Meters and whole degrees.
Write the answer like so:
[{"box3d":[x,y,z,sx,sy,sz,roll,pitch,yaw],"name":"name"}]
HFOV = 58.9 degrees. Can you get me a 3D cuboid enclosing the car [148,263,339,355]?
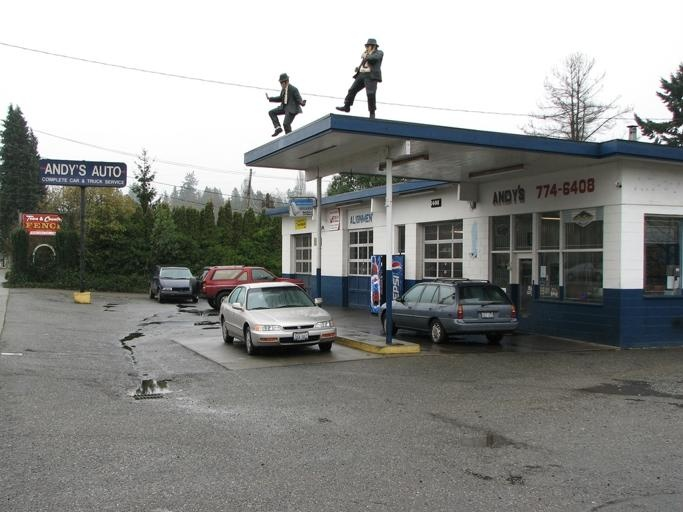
[{"box3d":[-1.725,1.515,15.031,1.880,1.658,3.047,-2,2,-42],"name":"car"}]
